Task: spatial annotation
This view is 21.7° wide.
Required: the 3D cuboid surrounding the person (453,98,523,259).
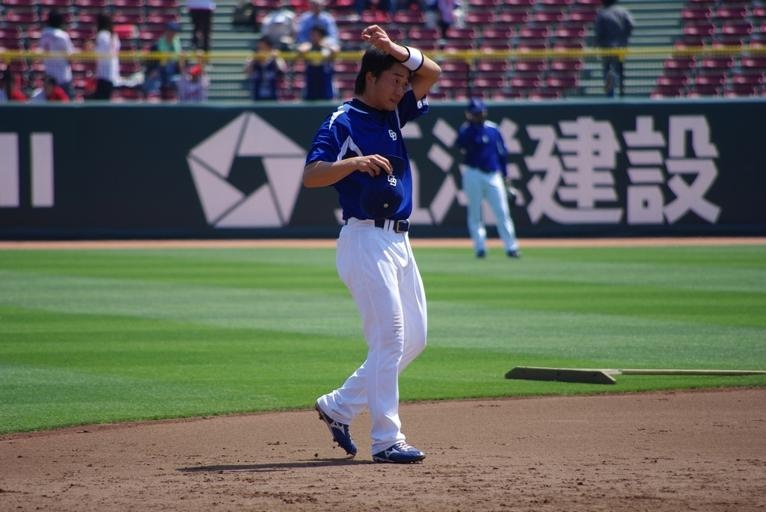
[{"bbox_3d":[1.792,-1.370,35.180,1.048,2.782,1.527,0,4,1],"label":"person"}]
